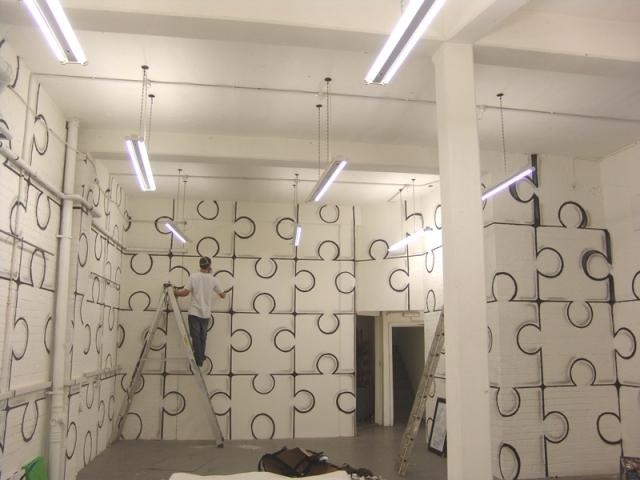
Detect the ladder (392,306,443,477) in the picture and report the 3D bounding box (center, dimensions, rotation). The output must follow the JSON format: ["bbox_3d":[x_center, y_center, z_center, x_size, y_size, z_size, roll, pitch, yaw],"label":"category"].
[{"bbox_3d":[1.524,2.210,8.338,0.710,2.301,1.590,-1,-9,11],"label":"ladder"}]
